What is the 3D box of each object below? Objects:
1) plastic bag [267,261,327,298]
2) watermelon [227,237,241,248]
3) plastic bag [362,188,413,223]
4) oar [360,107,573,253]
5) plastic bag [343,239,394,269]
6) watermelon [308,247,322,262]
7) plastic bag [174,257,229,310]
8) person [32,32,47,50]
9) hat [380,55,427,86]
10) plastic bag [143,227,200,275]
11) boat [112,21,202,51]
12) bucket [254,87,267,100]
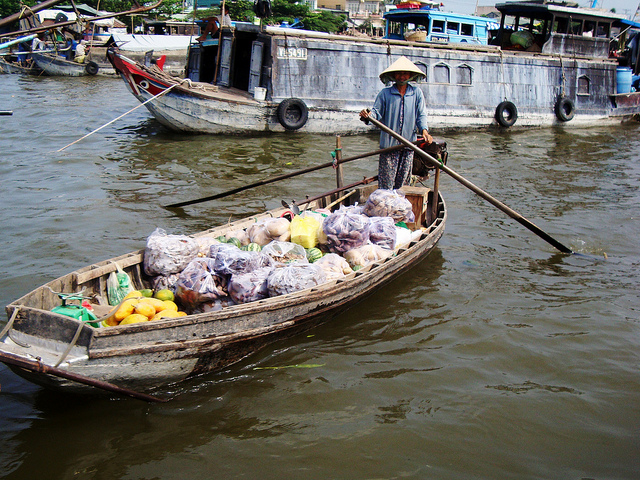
[{"bbox_3d":[-0.332,0.523,8.825,1.297,0.369,0.763,0,10,-9],"label":"plastic bag"},{"bbox_3d":[-1.221,0.036,9.519,0.176,0.082,0.136,29,13,18],"label":"watermelon"},{"bbox_3d":[1.056,-0.507,10.318,1.192,0.450,1.037,4,14,1],"label":"plastic bag"},{"bbox_3d":[3.716,-0.312,12.281,0.412,0.438,7.948,-32,-27,24],"label":"oar"},{"bbox_3d":[0.680,0.209,9.613,0.589,0.171,0.520,-7,4,-7],"label":"plastic bag"},{"bbox_3d":[-0.082,0.202,9.464,0.231,0.164,0.118,-1,1,0],"label":"watermelon"},{"bbox_3d":[-1.574,0.601,8.808,0.868,0.580,0.717,16,-27,-35],"label":"plastic bag"},{"bbox_3d":[-13.214,-9.283,31.286,0.646,0.635,1.513,-5,14,-20],"label":"person"},{"bbox_3d":[1.353,-2.789,10.948,0.706,0.472,0.551,2,15,3],"label":"hat"},{"bbox_3d":[-2.033,0.154,9.187,0.995,0.484,0.639,-3,16,-17],"label":"plastic bag"},{"bbox_3d":[-8.270,-10.010,32.809,1.554,1.300,5.519,5,16,25],"label":"boat"},{"bbox_3d":[-1.569,-3.861,17.485,0.475,0.249,0.290,4,14,1],"label":"bucket"}]
